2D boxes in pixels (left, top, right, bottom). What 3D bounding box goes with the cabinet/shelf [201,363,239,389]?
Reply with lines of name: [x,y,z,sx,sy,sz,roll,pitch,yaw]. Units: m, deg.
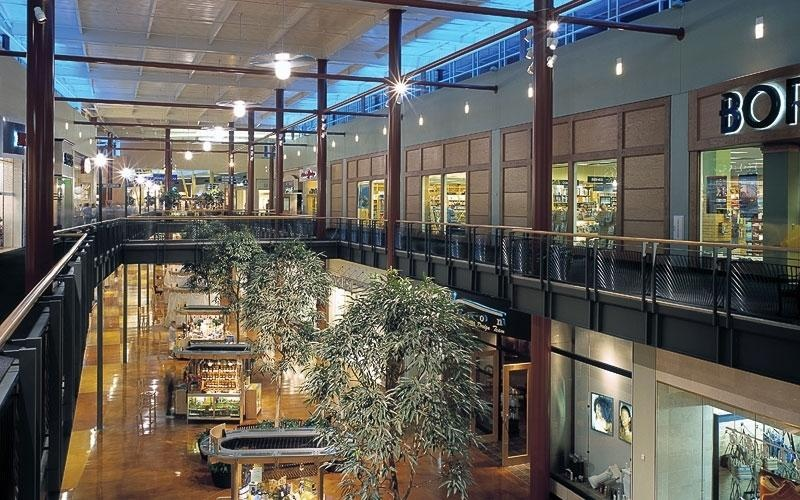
cabinet/shelf: [-7.664,5.354,23.836,0.953,0.897,0.464,1,-8,-5]

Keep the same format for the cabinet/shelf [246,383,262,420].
cabinet/shelf: [-6.330,6.487,24.204,0.442,1.195,1.275,0,-4,-4]
